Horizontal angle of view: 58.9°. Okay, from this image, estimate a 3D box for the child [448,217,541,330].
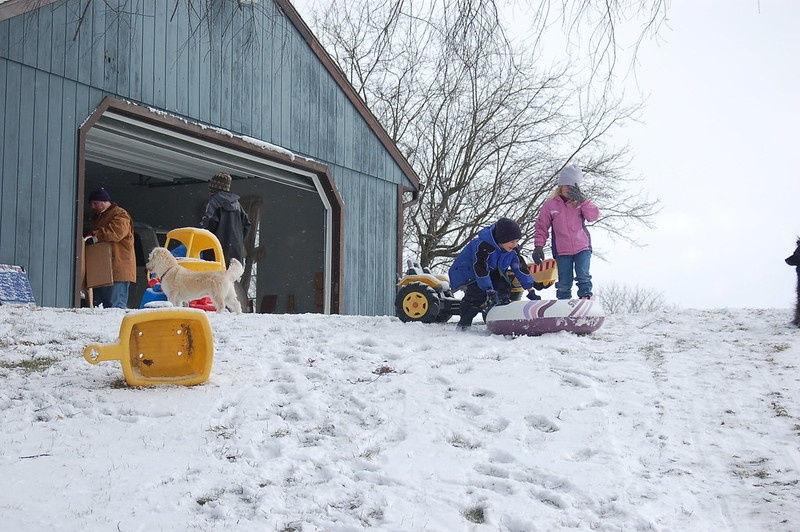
[{"bbox_3d":[0.973,0.117,7.881,0.962,1.327,0.908,6,13,28],"label":"child"}]

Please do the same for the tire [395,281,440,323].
[{"bbox_3d":[0.225,0.419,8.126,0.377,0.413,0.126,12,2,17],"label":"tire"}]

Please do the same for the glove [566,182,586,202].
[{"bbox_3d":[2.047,-0.835,8.136,0.232,0.223,0.125,0,-3,-8],"label":"glove"}]

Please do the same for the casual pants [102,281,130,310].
[{"bbox_3d":[-3.601,0.368,8.976,0.305,0.237,0.174,1,11,36],"label":"casual pants"}]

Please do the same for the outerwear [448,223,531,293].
[{"bbox_3d":[1.015,-0.066,7.822,0.893,0.893,0.725,9,14,25],"label":"outerwear"}]

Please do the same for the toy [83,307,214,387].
[{"bbox_3d":[-1.980,0.659,5.603,0.919,0.660,0.346,-2,-4,-28],"label":"toy"}]

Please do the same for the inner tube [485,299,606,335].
[{"bbox_3d":[1.534,0.545,7.510,1.208,0.369,0.400,-2,-4,14],"label":"inner tube"}]

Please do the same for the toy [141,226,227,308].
[{"bbox_3d":[-2.575,-0.136,8.920,0.798,0.755,0.698,7,0,-25],"label":"toy"}]

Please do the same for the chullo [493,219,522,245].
[{"bbox_3d":[1.148,-0.397,7.616,0.262,0.265,0.249,12,14,27],"label":"chullo"}]

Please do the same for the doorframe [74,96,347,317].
[{"bbox_3d":[-2.704,-0.957,10.798,0.163,2.042,3.309,-16,-26,33],"label":"doorframe"}]

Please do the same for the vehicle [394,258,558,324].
[{"bbox_3d":[0.880,0.352,8.353,1.665,0.822,0.826,-4,0,9],"label":"vehicle"}]

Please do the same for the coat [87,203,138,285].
[{"bbox_3d":[-3.710,-0.236,9.165,0.624,1.016,0.819,6,-11,-35],"label":"coat"}]

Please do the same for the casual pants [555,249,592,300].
[{"bbox_3d":[1.954,0.077,7.936,0.394,0.542,0.509,-2,-4,14],"label":"casual pants"}]

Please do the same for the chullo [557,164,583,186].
[{"bbox_3d":[1.954,-1.034,8.231,0.247,0.263,0.221,6,16,-33],"label":"chullo"}]

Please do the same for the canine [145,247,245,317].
[{"bbox_3d":[-2.313,0.175,7.952,1.063,0.797,0.355,2,5,-5],"label":"canine"}]
